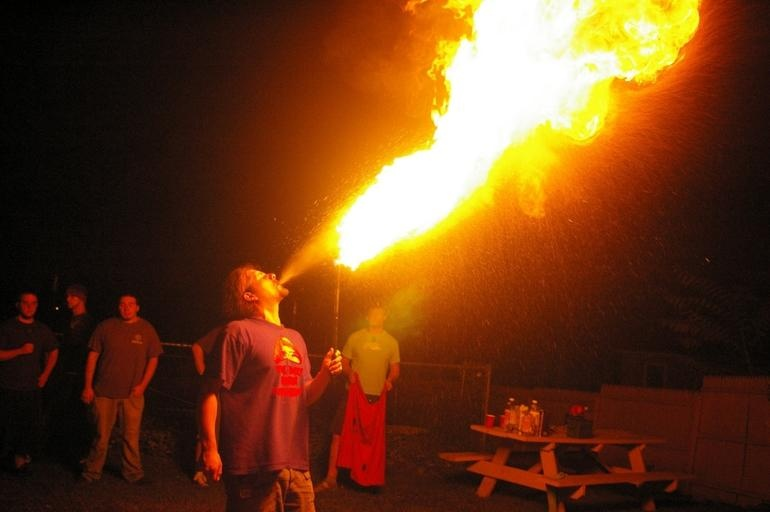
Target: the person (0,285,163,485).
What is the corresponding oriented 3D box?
[{"bbox_3d":[-4.318,2.137,11.522,1.173,2.975,0.454,11,-11,-18],"label":"person"}]
